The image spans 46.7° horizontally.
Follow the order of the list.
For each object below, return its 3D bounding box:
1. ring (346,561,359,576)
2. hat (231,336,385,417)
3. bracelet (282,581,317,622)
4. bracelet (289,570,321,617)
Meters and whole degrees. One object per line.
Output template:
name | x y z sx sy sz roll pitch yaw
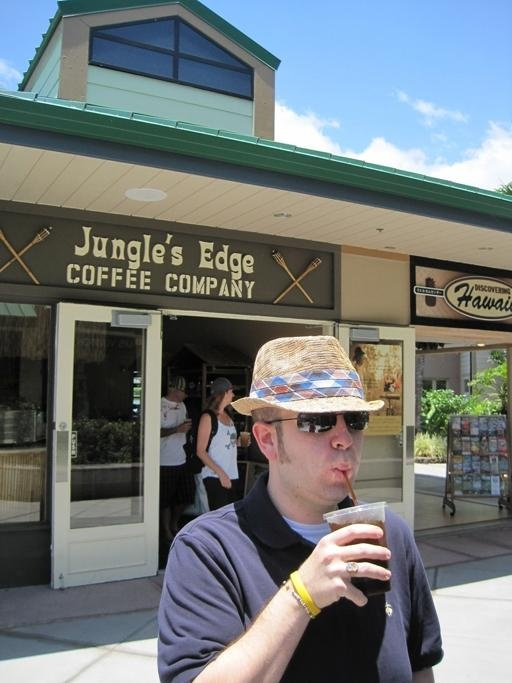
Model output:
ring | 0.158 0.372 0.975 0.016 0.020 0.018 -6 -18 1
hat | 0.098 0.079 1.352 0.214 0.102 0.230 5 -13 -32
bracelet | 0.064 0.416 0.978 0.051 0.051 0.051 22 -21 2
bracelet | 0.080 0.409 0.963 0.054 0.051 0.052 41 15 0
